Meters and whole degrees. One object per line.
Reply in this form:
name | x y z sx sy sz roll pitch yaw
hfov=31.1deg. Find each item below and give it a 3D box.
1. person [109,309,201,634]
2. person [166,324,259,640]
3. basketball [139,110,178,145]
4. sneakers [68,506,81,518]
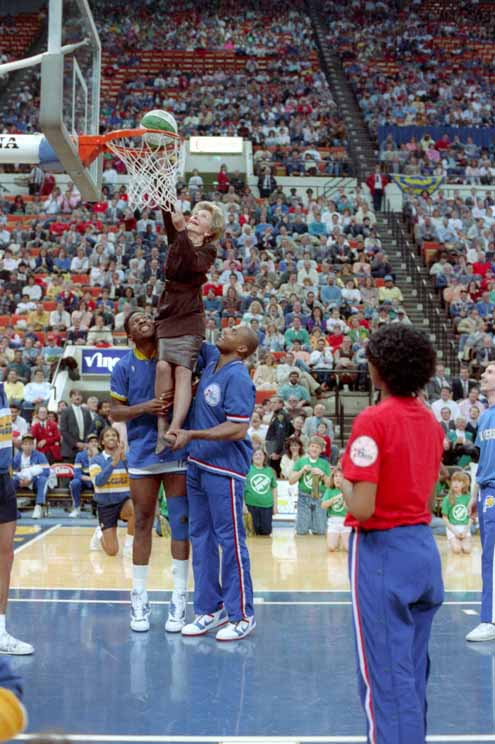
person | -0.568 0.546 5.197 0.554 1.877 0.541 -2 -6 -10
person | -0.162 0.627 5.051 0.427 1.800 0.683 1 -2 0
basketball | -0.522 -1.439 5.202 0.240 0.200 0.178 -1 33 -16
sneakers | -2.039 1.677 10.568 0.068 0.125 0.189 13 -12 18
